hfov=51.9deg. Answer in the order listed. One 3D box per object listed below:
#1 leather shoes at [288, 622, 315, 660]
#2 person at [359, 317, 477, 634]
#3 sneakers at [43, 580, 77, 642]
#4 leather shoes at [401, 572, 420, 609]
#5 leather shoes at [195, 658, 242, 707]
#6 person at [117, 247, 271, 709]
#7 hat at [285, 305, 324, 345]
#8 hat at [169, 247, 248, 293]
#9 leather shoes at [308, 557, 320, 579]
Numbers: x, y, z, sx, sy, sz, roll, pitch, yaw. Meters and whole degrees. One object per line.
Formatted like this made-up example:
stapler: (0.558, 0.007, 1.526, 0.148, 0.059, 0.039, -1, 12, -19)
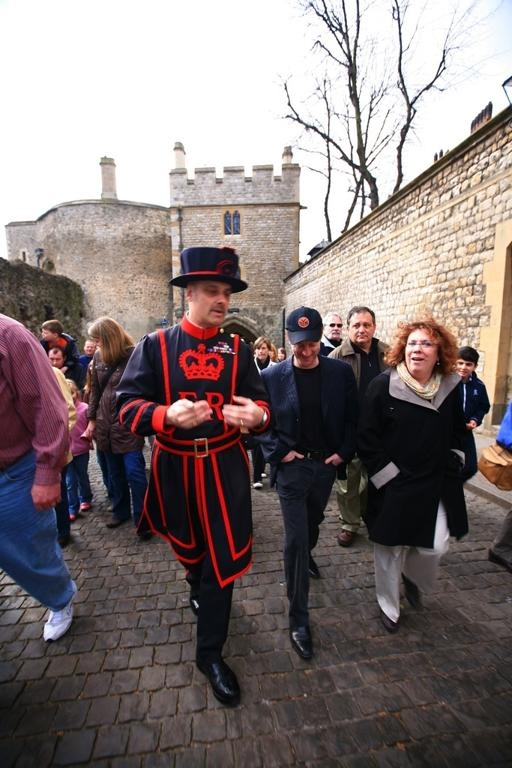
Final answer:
leather shoes: (0.240, 1.348, 2.751, 0.122, 0.110, 0.171, -1, 12, 3)
person: (0.854, 0.431, 2.912, 0.587, 1.523, 0.506, -7, 13, -23)
sneakers: (-1.088, 1.266, 2.946, 0.112, 0.129, 0.329, -4, 20, -1)
leather shoes: (0.911, 1.251, 3.146, 0.070, 0.141, 0.204, -14, 6, -3)
leather shoes: (-0.176, 1.416, 2.500, 0.097, 0.095, 0.248, 5, -8, -34)
person: (-0.292, 0.400, 2.579, 0.716, 2.073, 0.682, -1, 12, 4)
hat: (0.268, -0.339, 3.018, 0.166, 0.130, 0.238, 0, 28, 4)
hat: (-0.227, -0.500, 2.505, 0.270, 0.118, 0.286, -4, 6, -31)
leather shoes: (0.379, 1.218, 3.436, 0.053, 0.061, 0.154, -4, 33, -15)
